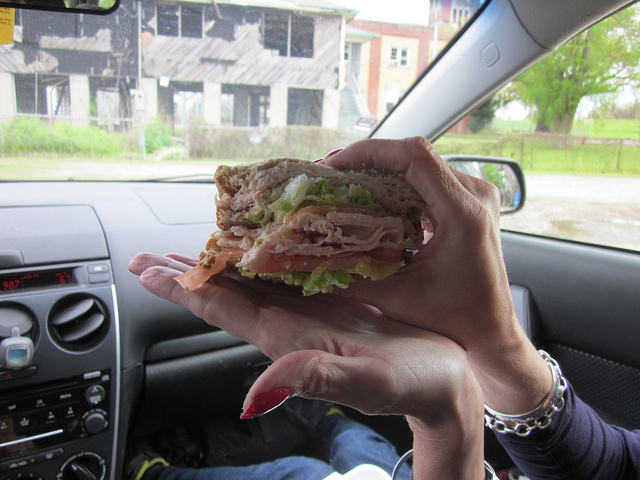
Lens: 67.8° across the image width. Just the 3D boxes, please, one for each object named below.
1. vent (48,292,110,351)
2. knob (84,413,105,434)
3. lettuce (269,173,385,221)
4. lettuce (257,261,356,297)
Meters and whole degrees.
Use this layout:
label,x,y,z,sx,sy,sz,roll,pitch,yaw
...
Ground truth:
label,x,y,z,sx,sy,sz,roll,pitch,yaw
vent,-1.730,0.586,3.422,0.384,0.367,0.159,-7,16,-31
knob,-1.628,1.320,3.430,0.110,0.115,0.036,34,-7,-31
lettuce,0.079,-0.273,2.845,0.794,0.287,0.342,4,2,-43
lettuce,-0.027,0.216,2.639,0.273,0.107,0.278,3,2,43
